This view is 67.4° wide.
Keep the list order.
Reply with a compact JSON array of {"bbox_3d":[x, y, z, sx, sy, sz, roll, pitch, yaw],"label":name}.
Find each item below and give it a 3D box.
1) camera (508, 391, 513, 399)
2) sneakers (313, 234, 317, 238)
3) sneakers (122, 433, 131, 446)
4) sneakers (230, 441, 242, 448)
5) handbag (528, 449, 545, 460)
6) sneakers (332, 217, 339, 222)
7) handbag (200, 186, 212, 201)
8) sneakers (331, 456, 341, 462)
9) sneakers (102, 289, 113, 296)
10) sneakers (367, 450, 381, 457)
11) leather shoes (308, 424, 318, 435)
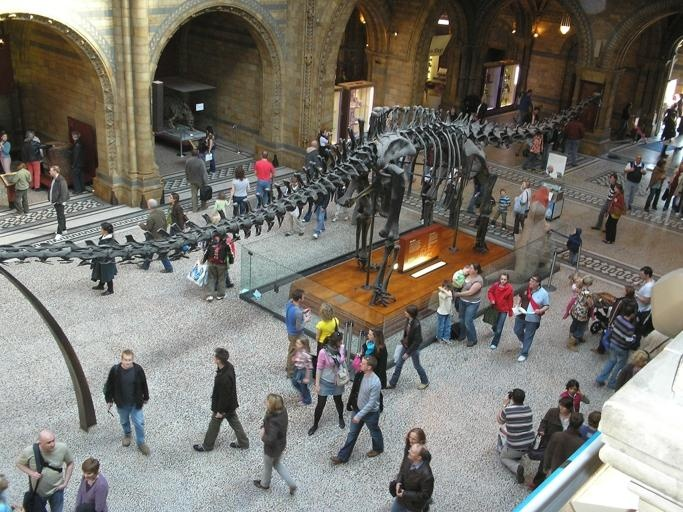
[{"bbox_3d":[2.354,1.923,7.074,0.095,0.104,0.100,-2,4,19],"label":"camera"},{"bbox_3d":[-0.644,-0.477,12.375,0.083,0.086,0.186,2,4,8],"label":"sneakers"},{"bbox_3d":[-3.115,2.652,7.414,0.092,0.108,0.163,19,42,-33],"label":"sneakers"},{"bbox_3d":[-1.554,2.766,7.513,0.167,0.068,0.062,33,2,-7],"label":"sneakers"},{"bbox_3d":[2.731,2.753,7.101,0.152,0.205,0.075,-21,36,51],"label":"handbag"},{"bbox_3d":[-0.160,-0.960,13.538,0.131,0.121,0.080,4,9,21],"label":"sneakers"},{"bbox_3d":[-3.802,-1.743,14.246,0.308,0.211,0.377,-36,2,-21],"label":"handbag"},{"bbox_3d":[-0.082,2.922,7.350,0.133,0.101,0.059,0,24,3],"label":"sneakers"},{"bbox_3d":[-4.883,0.766,10.662,0.218,0.094,0.088,-4,4,-6],"label":"sneakers"},{"bbox_3d":[0.477,2.885,7.524,0.202,0.090,0.074,3,14,-22],"label":"sneakers"},{"bbox_3d":[-0.428,2.648,7.802,0.050,0.096,0.144,34,39,2],"label":"leather shoes"}]
